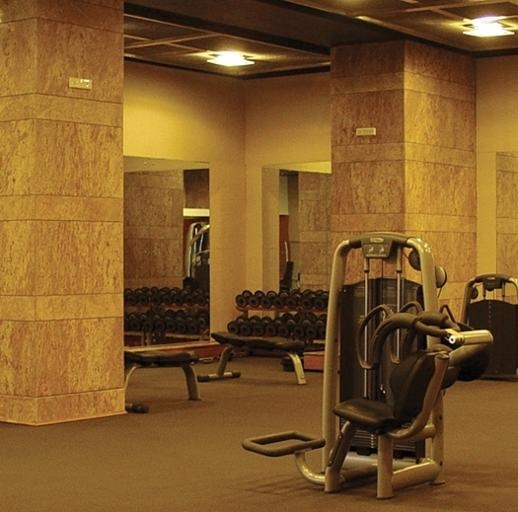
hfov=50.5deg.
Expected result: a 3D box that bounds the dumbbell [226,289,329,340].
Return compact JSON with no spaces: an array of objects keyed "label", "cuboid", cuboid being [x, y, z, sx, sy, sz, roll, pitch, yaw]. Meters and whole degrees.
[{"label":"dumbbell","cuboid":[0.356,0.919,8.589,1.725,0.739,0.695,1,1,33]}]
